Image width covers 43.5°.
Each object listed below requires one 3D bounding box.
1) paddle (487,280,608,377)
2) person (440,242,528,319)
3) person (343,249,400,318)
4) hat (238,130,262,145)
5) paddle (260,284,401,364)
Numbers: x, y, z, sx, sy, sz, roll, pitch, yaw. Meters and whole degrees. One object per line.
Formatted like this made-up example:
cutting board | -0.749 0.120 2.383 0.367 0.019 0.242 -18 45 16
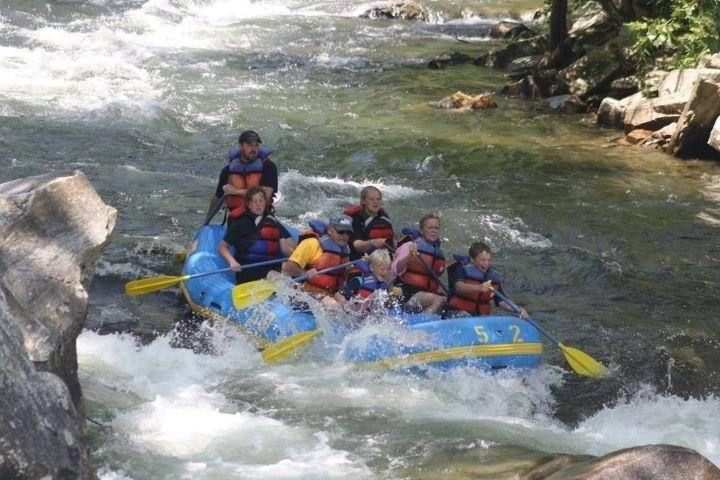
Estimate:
paddle | 2.888 1.414 13.842 2.124 0.385 0.159 39 12 14
person | 1.936 0.899 13.824 1.154 1.622 1.066 10 8 0
person | 0.160 0.682 13.639 0.859 1.202 0.659 12 -1 -41
hat | -1.918 -1.764 15.304 0.303 0.202 0.409 0 -4 -34
paddle | -0.417 1.293 13.419 0.389 1.997 0.094 57 -12 14
